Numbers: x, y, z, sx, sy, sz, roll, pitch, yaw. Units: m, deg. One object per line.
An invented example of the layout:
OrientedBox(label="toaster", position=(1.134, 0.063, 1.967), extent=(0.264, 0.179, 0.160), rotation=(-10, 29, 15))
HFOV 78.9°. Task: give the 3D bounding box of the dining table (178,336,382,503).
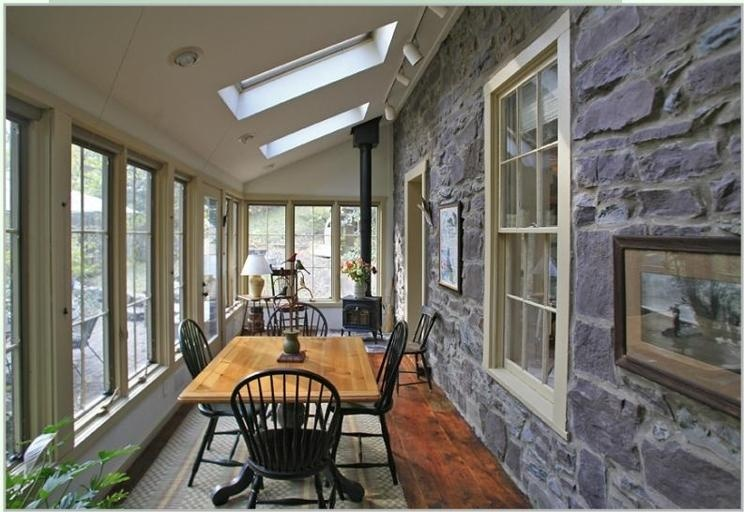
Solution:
OrientedBox(label="dining table", position=(-0.626, 0.955, 3.419), extent=(1.084, 0.773, 1.259), rotation=(0, 3, -3))

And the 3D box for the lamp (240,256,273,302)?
OrientedBox(label="lamp", position=(-1.511, 0.258, 5.982), extent=(0.425, 0.505, 0.437), rotation=(-2, -1, -22))

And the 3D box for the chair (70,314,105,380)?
OrientedBox(label="chair", position=(-1.857, 0.594, 2.967), extent=(0.259, 0.353, 0.259), rotation=(2, -8, -13))

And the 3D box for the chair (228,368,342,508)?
OrientedBox(label="chair", position=(-0.498, 1.156, 2.881), extent=(0.681, 0.869, 0.974), rotation=(-3, -1, -12))

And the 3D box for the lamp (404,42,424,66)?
OrientedBox(label="lamp", position=(0.384, -1.879, 4.209), extent=(0.147, 0.230, 0.216), rotation=(-4, -1, 3))

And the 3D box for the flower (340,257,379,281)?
OrientedBox(label="flower", position=(-0.193, 0.148, 6.499), extent=(0.415, 0.291, 0.384), rotation=(9, -10, -33))

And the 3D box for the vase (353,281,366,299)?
OrientedBox(label="vase", position=(-0.160, 0.462, 6.457), extent=(0.198, 0.248, 0.217), rotation=(-3, -1, -7))
